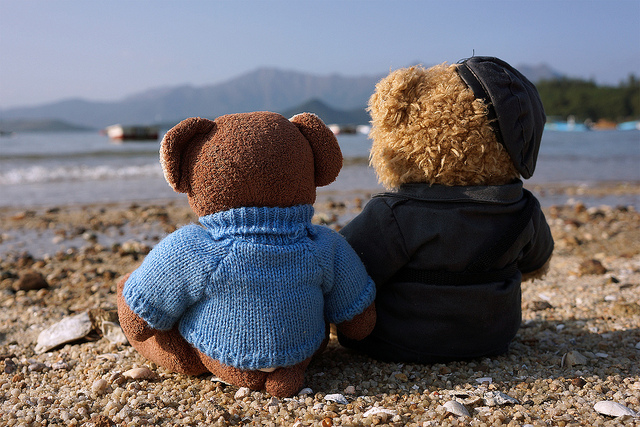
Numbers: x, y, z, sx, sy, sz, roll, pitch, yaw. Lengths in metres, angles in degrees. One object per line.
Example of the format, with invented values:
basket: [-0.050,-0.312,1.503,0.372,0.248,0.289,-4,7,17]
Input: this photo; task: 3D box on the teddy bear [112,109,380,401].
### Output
teddy bear: [-0.510,0.302,5.898,1.759,1.948,0.698,-4,17,2]
